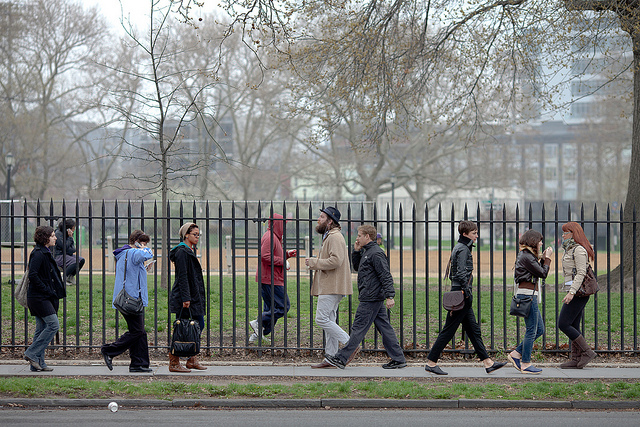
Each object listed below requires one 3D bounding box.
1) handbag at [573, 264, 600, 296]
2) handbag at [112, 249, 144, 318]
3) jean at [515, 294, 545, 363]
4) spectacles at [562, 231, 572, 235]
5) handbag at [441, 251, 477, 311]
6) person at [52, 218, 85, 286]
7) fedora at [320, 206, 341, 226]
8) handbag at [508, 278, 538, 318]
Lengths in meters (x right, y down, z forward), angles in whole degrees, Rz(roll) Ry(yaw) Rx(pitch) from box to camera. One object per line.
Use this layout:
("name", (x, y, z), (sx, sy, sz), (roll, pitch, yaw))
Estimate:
("handbag", (8.557, 2.168, 44.733), (0.607, 1.284, 1.305), (-6, 4, 18))
("handbag", (-6.097, 2.452, 44.003), (0.855, 1.757, 0.204), (-1, -4, -16))
("jean", (6.698, 3.695, 44.254), (0.888, 2.214, 0.518), (-3, -4, 9))
("spectacles", (7.954, 0.624, 44.496), (0.289, 0.058, 0.076), (-4, -4, 27))
("handbag", (4.477, 2.586, 44.487), (1.080, 2.166, 1.098), (2, -1, 2))
("person", (-8.899, 1.332, 48.462), (1.282, 2.227, 1.005), (-1, 2, 24))
("fedora", (0.396, 0.018, 44.764), (0.480, 0.605, 0.739), (-3, -4, 20))
("handbag", (6.482, 2.737, 44.232), (0.916, 1.223, 0.255), (-3, -4, 9))
